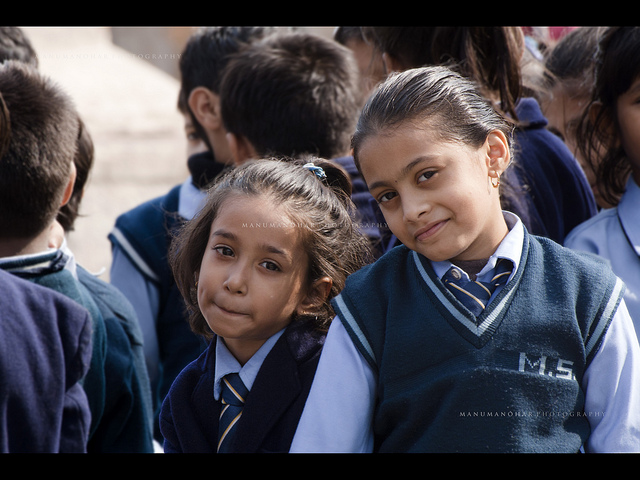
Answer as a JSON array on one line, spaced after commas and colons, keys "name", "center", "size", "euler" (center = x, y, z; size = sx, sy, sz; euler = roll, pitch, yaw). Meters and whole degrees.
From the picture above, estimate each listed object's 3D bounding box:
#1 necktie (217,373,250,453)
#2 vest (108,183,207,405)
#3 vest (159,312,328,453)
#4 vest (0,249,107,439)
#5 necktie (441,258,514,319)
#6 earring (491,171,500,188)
[{"name": "necktie", "center": [-0.290, 0.546, 2.613], "size": [0.139, 0.209, 0.054], "euler": [-7, -11, 34]}, {"name": "vest", "center": [-0.563, 0.195, 2.904], "size": [0.254, 0.630, 0.542], "euler": [-9, 7, -28]}, {"name": "vest", "center": [-0.227, 0.470, 2.623], "size": [0.474, 0.420, 0.273], "euler": [7, -7, 34]}, {"name": "vest", "center": [-0.871, 0.356, 2.618], "size": [0.478, 0.454, 0.263], "euler": [30, 34, 31]}, {"name": "necktie", "center": [0.489, 0.154, 2.574], "size": [0.197, 0.190, 0.076], "euler": [33, -20, 16]}, {"name": "earring", "center": [0.551, -0.181, 2.552], "size": [0.011, 0.042, 0.045], "euler": [6, 15, 25]}]
